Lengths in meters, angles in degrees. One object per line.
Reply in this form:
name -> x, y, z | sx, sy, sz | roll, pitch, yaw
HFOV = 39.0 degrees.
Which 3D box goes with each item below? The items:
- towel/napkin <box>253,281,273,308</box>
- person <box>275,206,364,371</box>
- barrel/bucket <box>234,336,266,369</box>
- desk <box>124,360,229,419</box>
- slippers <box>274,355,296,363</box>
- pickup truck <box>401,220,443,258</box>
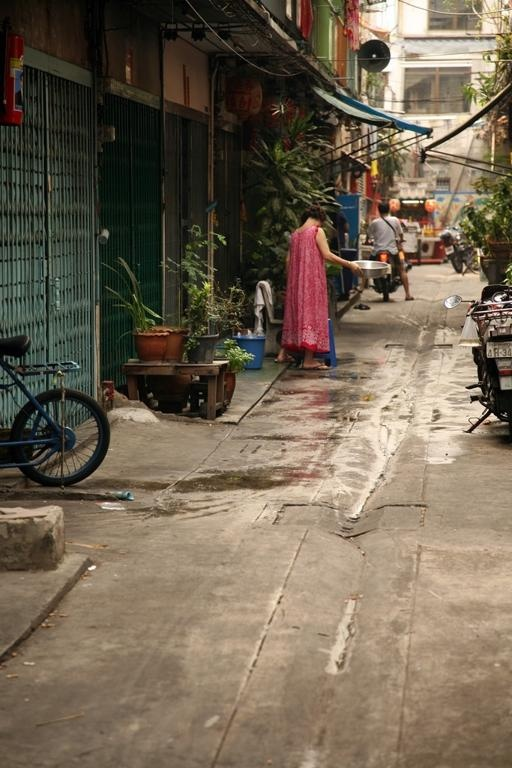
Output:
towel/napkin -> 0.137, -1.468, 12.017 | 0.390, 0.581, 0.497 | 0, 6, 8
person -> 0.851, -1.447, 11.177 | 0.830, 2.477, 0.905 | 3, 5, -1
barrel/bucket -> -0.100, -0.482, 11.234 | 0.500, 0.472, 0.492 | 0, 2, 0
desk -> -0.931, 0.105, 8.554 | 1.245, 0.646, 1.240 | 0, 0, -17
slippers -> 0.472, -0.383, 11.740 | 0.370, 0.150, 0.124 | -2, 9, -16
pickup truck -> 7.629, -6.634, 33.331 | 2.050, 1.673, 3.683 | 0, 2, 7
